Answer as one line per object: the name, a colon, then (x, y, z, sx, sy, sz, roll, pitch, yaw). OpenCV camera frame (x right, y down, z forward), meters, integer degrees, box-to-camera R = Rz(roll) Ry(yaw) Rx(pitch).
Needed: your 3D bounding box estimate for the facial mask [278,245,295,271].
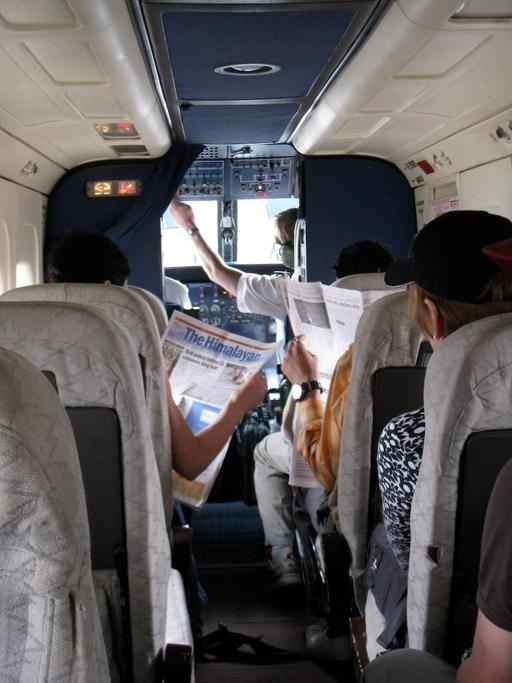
facial mask: (0.278, -0.784, 4.920, 0.157, 0.185, 0.132, -4, 42, 1)

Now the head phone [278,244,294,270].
head phone: (0.278, -0.785, 4.929, 0.170, 0.193, 0.131, -3, -10, 10)
